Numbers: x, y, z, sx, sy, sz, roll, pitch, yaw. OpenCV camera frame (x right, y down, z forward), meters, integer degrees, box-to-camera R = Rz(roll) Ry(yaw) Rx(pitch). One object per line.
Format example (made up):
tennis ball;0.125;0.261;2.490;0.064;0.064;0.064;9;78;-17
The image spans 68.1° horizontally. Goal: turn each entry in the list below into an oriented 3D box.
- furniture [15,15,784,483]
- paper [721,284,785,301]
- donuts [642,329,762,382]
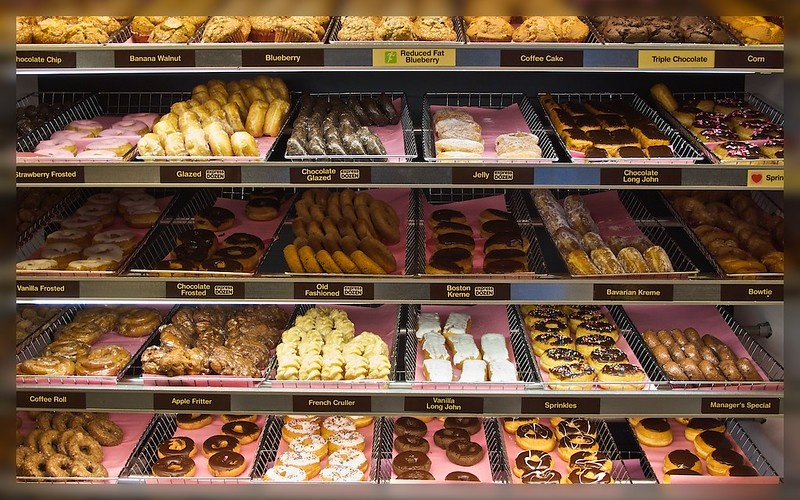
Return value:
furniture;0.091;0.343;3.151;3.729;1.589;0.656;1;3;1
paper;1.742;0.204;2.920;0.185;0.041;0.159;1;7;6
donuts;1.616;0.557;3.209;0.306;0.060;0.305;1;30;1
